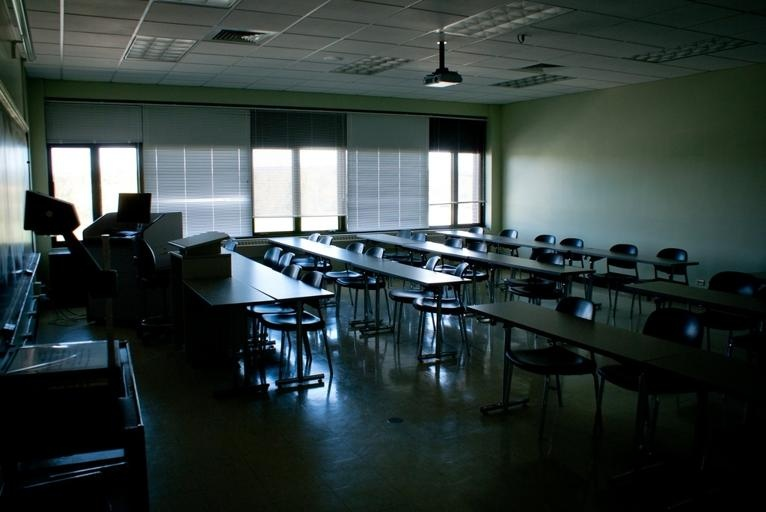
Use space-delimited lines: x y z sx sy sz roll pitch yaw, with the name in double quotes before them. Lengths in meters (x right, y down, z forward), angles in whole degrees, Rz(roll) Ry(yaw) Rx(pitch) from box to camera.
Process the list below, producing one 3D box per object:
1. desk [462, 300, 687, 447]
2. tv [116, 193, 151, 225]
"desk" 1.710 0.816 4.991 1.372 1.052 2.089 -1 3 -31
"tv" -3.422 -0.647 7.814 0.623 0.341 0.059 2 2 29
